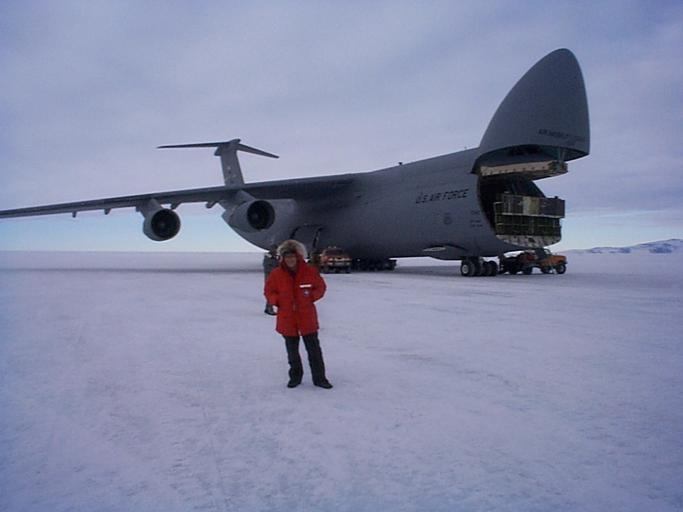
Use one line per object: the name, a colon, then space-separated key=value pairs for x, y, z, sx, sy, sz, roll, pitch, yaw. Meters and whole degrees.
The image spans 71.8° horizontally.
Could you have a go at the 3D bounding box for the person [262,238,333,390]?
person: x=-0.491 y=0.653 z=5.262 sx=0.717 sy=1.663 sz=0.547 roll=-2 pitch=7 yaw=-9
